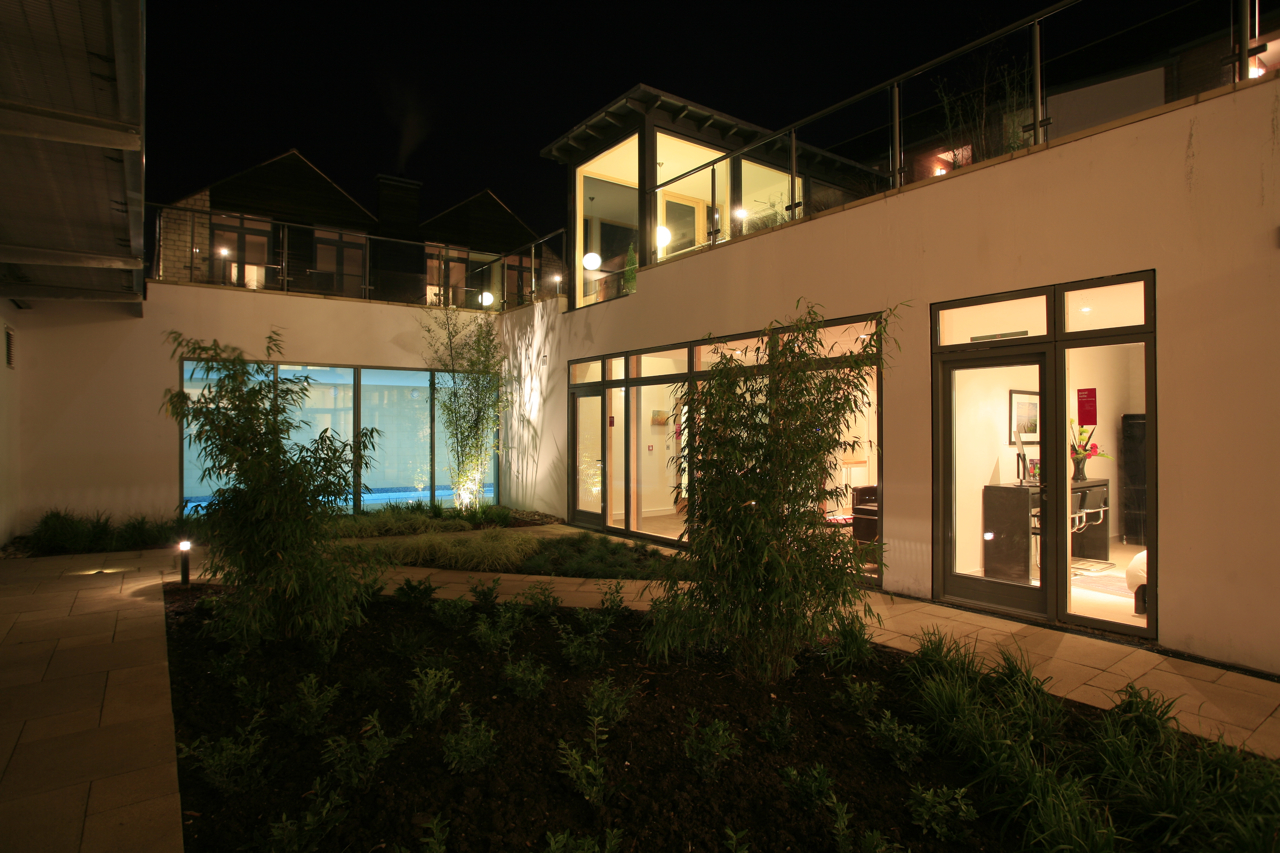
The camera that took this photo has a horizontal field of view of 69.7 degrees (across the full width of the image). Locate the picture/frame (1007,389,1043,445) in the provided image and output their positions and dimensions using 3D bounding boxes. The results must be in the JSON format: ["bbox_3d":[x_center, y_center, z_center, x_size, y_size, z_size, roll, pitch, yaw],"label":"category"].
[{"bbox_3d":[3.663,-0.082,8.723,0.019,0.517,0.416,-2,3,-24],"label":"picture/frame"}]

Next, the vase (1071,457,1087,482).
[{"bbox_3d":[4.041,0.415,8.477,0.165,0.231,0.172,6,-8,-41],"label":"vase"}]
